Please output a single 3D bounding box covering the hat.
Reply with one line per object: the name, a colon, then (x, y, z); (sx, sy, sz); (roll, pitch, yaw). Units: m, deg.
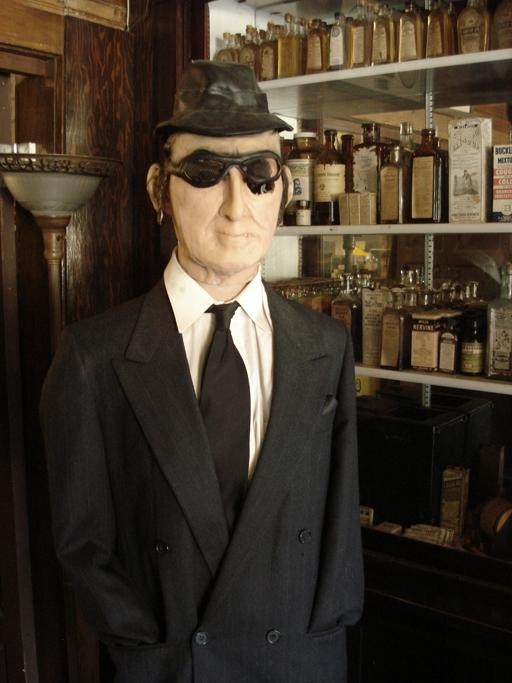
hat: (-0.055, -0.369, 1.121); (0.205, 0.135, 0.214); (-1, 2, -15)
